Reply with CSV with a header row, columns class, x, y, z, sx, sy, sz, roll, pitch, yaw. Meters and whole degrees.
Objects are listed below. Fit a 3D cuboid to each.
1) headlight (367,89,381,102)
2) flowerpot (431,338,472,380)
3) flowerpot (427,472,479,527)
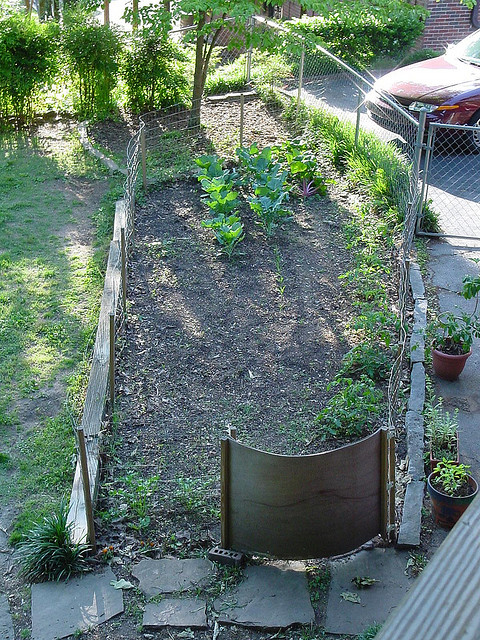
class,x,y,z,sx,sy,sz,roll,pitch,yaw
headlight,1.890,-3.152,9.292,0.162,0.167,0.244,4,21,9
flowerpot,1.580,0.315,4.976,0.281,0.201,0.260,-3,36,-6
flowerpot,1.179,1.044,3.762,0.293,0.268,0.185,18,28,38
